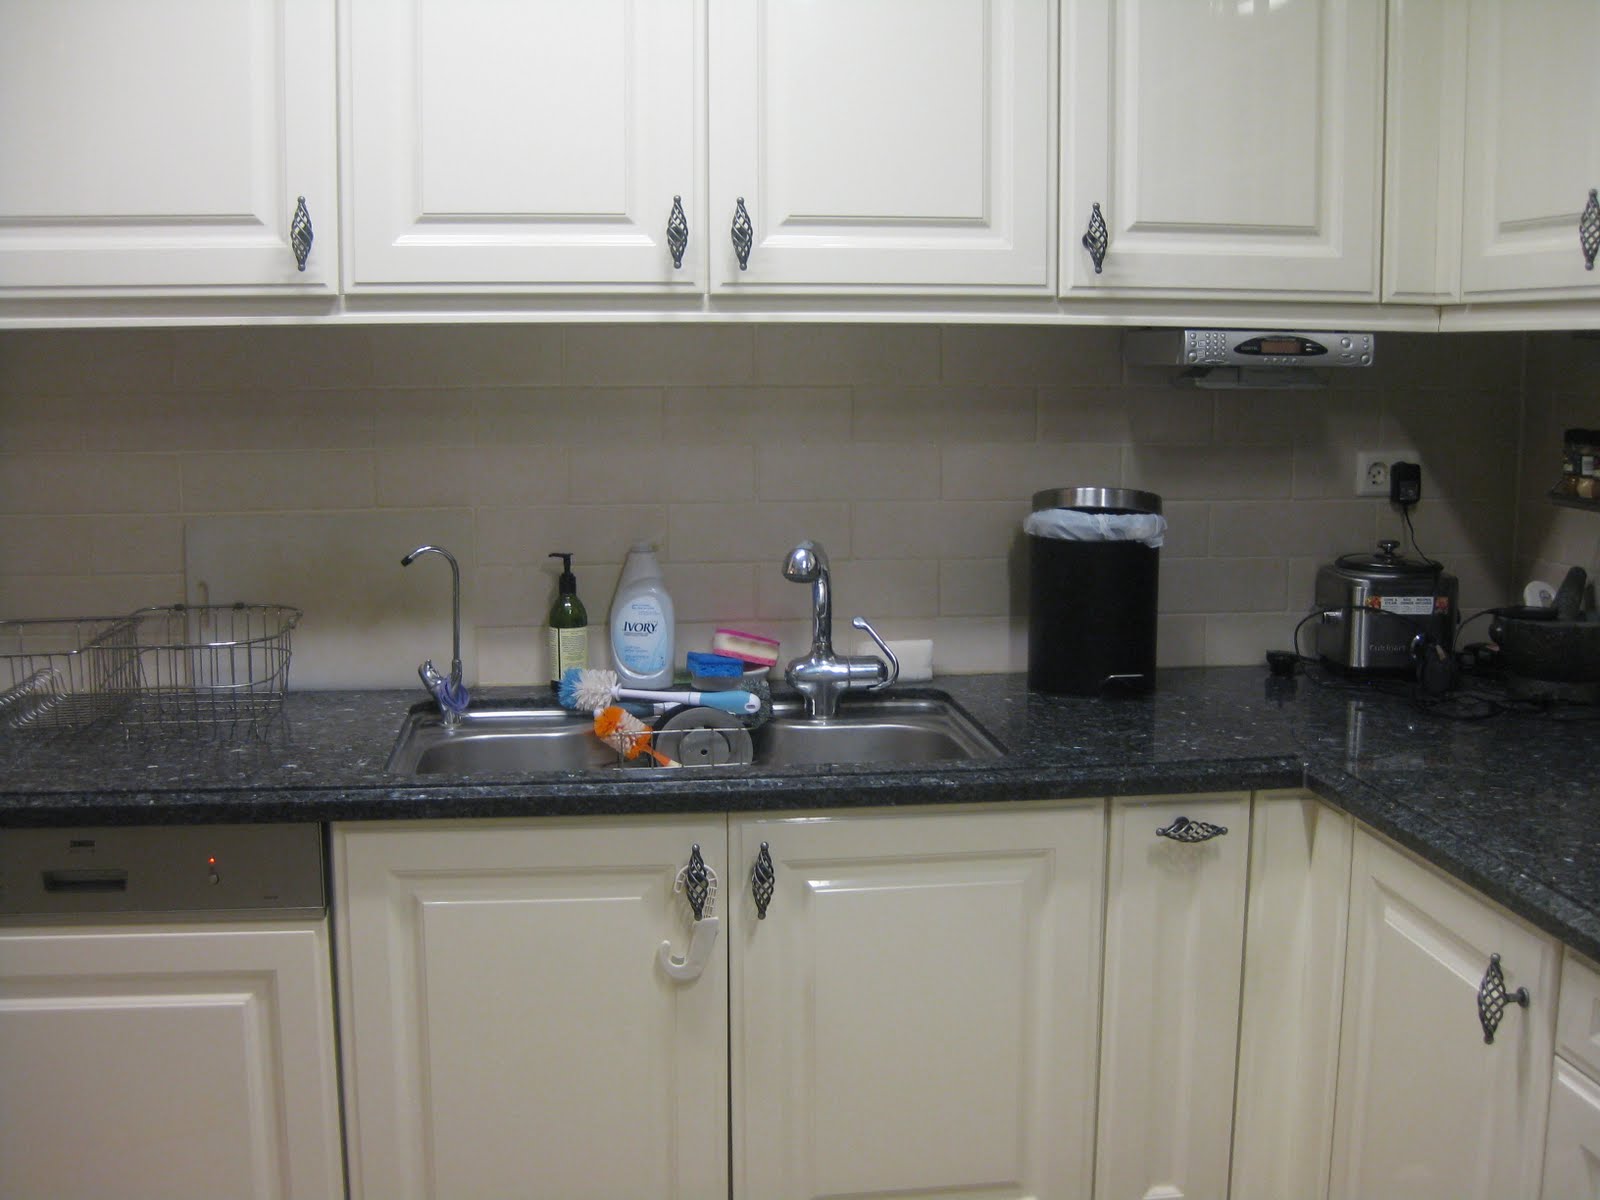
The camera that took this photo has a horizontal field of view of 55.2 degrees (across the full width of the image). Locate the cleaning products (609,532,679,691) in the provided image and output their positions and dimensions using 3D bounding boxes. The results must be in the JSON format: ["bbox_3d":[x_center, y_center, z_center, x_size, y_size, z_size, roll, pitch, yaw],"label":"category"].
[{"bbox_3d":[-0.291,0.019,2.885,0.098,0.288,0.118,-1,14,-13],"label":"cleaning products"}]

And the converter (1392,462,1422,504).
[{"bbox_3d":[1.234,-0.234,3.102,0.074,0.088,0.027,-4,8,-11],"label":"converter"}]

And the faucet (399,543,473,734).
[{"bbox_3d":[-0.667,0.038,2.808,0.114,0.387,0.123,-2,13,-18],"label":"faucet"}]

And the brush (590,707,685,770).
[{"bbox_3d":[-0.290,0.250,2.720,0.123,0.034,0.036,36,-12,7],"label":"brush"}]

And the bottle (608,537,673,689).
[{"bbox_3d":[-0.312,0.030,2.914,0.131,0.269,0.088,-2,8,5],"label":"bottle"}]

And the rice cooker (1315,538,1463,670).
[{"bbox_3d":[1.153,0.019,3.017,0.209,0.271,0.292,1,6,4],"label":"rice cooker"}]

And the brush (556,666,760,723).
[{"bbox_3d":[-0.265,0.164,2.963,0.370,0.085,0.346,0,12,-2],"label":"brush"}]

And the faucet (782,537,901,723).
[{"bbox_3d":[0.076,0.086,2.835,0.171,0.374,0.205,1,13,-3],"label":"faucet"}]
